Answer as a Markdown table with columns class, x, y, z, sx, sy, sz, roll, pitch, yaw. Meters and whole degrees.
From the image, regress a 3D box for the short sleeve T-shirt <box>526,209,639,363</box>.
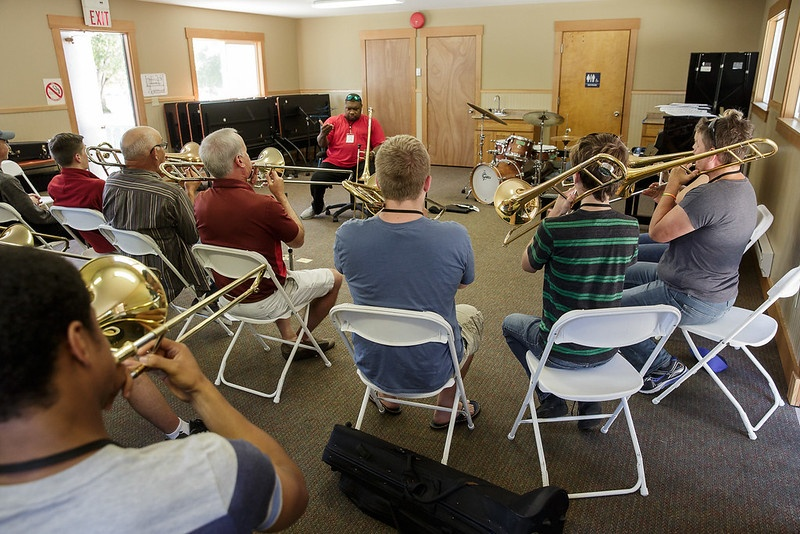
| class | x | y | z | sx | sy | sz | roll | pitch | yaw |
| --- | --- | --- | --- | --- | --- | --- | --- | --- | --- |
| short sleeve T-shirt | 0.834 | 0.046 | 2.369 | 0.469 | 0.651 | 0.228 | 6 | 21 | 23 |

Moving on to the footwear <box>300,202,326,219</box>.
| class | x | y | z | sx | sy | sz | roll | pitch | yaw |
| --- | --- | --- | --- | --- | --- | --- | --- | --- | --- |
| footwear | -1.082 | -0.670 | 6.206 | 0.345 | 0.152 | 0.121 | -6 | 11 | -32 |

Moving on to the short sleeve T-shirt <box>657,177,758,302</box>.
| class | x | y | z | sx | sy | sz | roll | pitch | yaw |
| --- | --- | --- | --- | --- | --- | --- | --- | --- | --- |
| short sleeve T-shirt | 1.778 | -0.133 | 2.878 | 0.650 | 0.627 | 0.360 | 2 | 10 | -39 |

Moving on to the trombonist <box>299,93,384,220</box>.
| class | x | y | z | sx | sy | sz | roll | pitch | yaw |
| --- | --- | --- | --- | --- | --- | --- | --- | --- | --- |
| trombonist | -0.624 | -1.302 | 6.043 | 0.889 | 1.448 | 0.870 | 3 | 20 | -7 |

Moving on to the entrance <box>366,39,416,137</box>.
| class | x | y | z | sx | sy | sz | roll | pitch | yaw |
| --- | --- | --- | --- | --- | --- | --- | --- | --- | --- |
| entrance | -0.155 | -3.187 | 9.184 | 0.894 | 2.228 | 0.118 | -7 | 44 | -5 |

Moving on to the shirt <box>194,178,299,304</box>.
| class | x | y | z | sx | sy | sz | roll | pitch | yaw |
| --- | --- | --- | --- | --- | --- | --- | --- | --- | --- |
| shirt | -0.879 | -0.134 | 2.847 | 0.597 | 0.731 | 0.411 | 8 | 26 | 16 |

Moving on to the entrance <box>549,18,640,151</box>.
| class | x | y | z | sx | sy | sz | roll | pitch | yaw |
| --- | --- | --- | --- | --- | --- | --- | --- | --- | --- |
| entrance | 3.104 | -2.822 | 8.135 | 1.153 | 0.125 | 2.842 | 12 | -21 | 23 |

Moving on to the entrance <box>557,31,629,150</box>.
| class | x | y | z | sx | sy | sz | roll | pitch | yaw |
| --- | --- | --- | --- | --- | --- | --- | --- | --- | --- |
| entrance | 3.085 | -2.776 | 8.098 | 1.181 | 0.133 | 2.947 | 9 | -22 | 21 |

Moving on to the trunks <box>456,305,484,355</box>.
| class | x | y | z | sx | sy | sz | roll | pitch | yaw |
| --- | --- | --- | --- | --- | --- | --- | --- | --- | --- |
| trunks | 0.379 | 0.314 | 2.656 | 0.166 | 0.088 | 0.249 | 1 | 62 | 4 |

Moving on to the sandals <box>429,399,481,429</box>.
| class | x | y | z | sx | sy | sz | roll | pitch | yaw |
| --- | --- | --- | --- | --- | --- | --- | --- | --- | --- |
| sandals | 0.317 | 0.840 | 2.834 | 0.291 | 0.081 | 0.122 | -16 | 38 | -14 |

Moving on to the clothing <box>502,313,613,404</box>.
| class | x | y | z | sx | sy | sz | roll | pitch | yaw |
| --- | --- | --- | --- | --- | --- | --- | --- | --- | --- |
| clothing | 0.749 | 0.413 | 2.537 | 0.327 | 0.456 | 0.397 | 5 | 50 | -6 |

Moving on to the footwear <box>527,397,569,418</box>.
| class | x | y | z | sx | sy | sz | roll | pitch | yaw |
| --- | --- | --- | --- | --- | --- | --- | --- | --- | --- |
| footwear | 0.830 | 0.771 | 2.814 | 0.233 | 0.178 | 0.081 | 2 | 1 | 2 |

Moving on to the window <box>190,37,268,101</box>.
| class | x | y | z | sx | sy | sz | roll | pitch | yaw |
| --- | --- | --- | --- | --- | --- | --- | --- | --- | --- |
| window | -2.866 | -3.320 | 8.334 | 0.097 | 0.953 | 1.311 | 9 | 19 | 32 |

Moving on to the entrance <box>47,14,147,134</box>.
| class | x | y | z | sx | sy | sz | roll | pitch | yaw |
| --- | --- | --- | --- | --- | --- | --- | --- | --- | --- |
| entrance | -3.888 | -2.527 | 6.585 | 0.253 | 1.340 | 1.136 | 6 | 22 | 24 |
